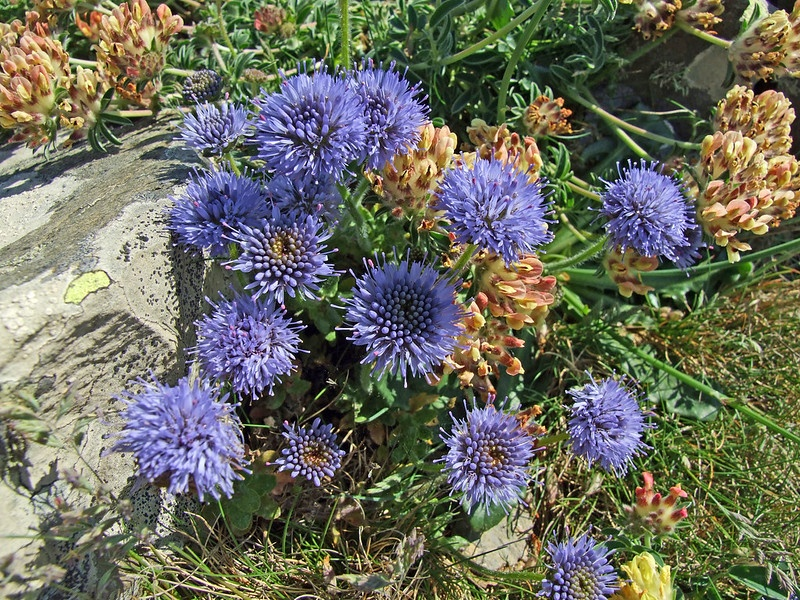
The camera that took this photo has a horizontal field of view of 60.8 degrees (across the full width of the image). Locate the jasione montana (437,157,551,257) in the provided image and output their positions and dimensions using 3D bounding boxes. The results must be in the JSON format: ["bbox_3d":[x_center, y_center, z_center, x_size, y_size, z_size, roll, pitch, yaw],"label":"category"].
[{"bbox_3d":[0.310,-0.363,2.617,0.377,0.347,0.388,-3,111,-19],"label":"jasione montana"}]

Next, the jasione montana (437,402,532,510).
[{"bbox_3d":[0.337,0.601,2.671,0.336,0.110,0.367,11,74,-1],"label":"jasione montana"}]

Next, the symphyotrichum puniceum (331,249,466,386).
[{"bbox_3d":[0.011,0.094,2.620,0.432,0.300,0.426,19,74,1],"label":"symphyotrichum puniceum"}]

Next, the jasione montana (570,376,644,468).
[{"bbox_3d":[0.847,0.515,2.812,0.300,0.316,0.321,-29,89,-10],"label":"jasione montana"}]

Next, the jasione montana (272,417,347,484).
[{"bbox_3d":[-0.389,0.585,2.902,0.299,0.287,0.287,-4,103,-11],"label":"jasione montana"}]

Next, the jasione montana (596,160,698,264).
[{"bbox_3d":[1.026,-0.347,2.883,0.365,0.343,0.473,3,104,-5],"label":"jasione montana"}]
